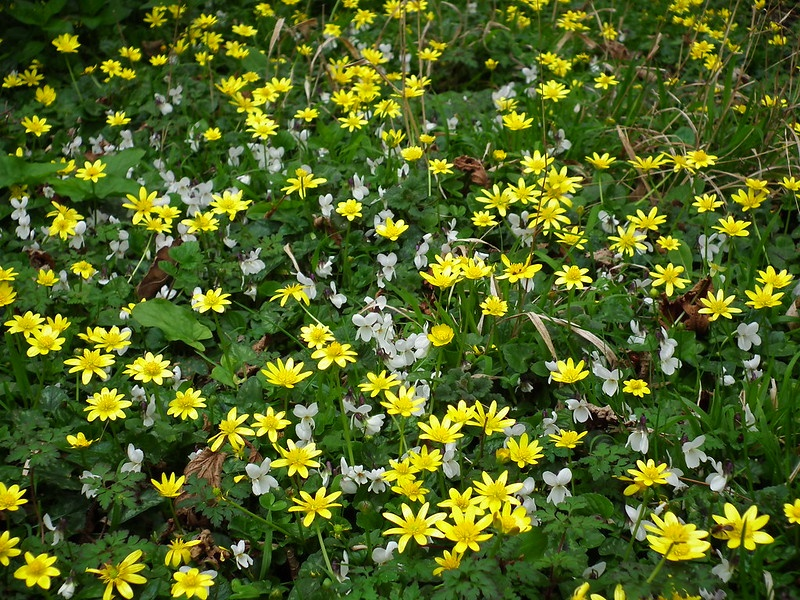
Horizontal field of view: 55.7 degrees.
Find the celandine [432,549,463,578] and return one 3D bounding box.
[{"bbox_3d":[0.192,1.073,3.041,0.109,0.148,0.129,5,31,5],"label":"celandine"}]
